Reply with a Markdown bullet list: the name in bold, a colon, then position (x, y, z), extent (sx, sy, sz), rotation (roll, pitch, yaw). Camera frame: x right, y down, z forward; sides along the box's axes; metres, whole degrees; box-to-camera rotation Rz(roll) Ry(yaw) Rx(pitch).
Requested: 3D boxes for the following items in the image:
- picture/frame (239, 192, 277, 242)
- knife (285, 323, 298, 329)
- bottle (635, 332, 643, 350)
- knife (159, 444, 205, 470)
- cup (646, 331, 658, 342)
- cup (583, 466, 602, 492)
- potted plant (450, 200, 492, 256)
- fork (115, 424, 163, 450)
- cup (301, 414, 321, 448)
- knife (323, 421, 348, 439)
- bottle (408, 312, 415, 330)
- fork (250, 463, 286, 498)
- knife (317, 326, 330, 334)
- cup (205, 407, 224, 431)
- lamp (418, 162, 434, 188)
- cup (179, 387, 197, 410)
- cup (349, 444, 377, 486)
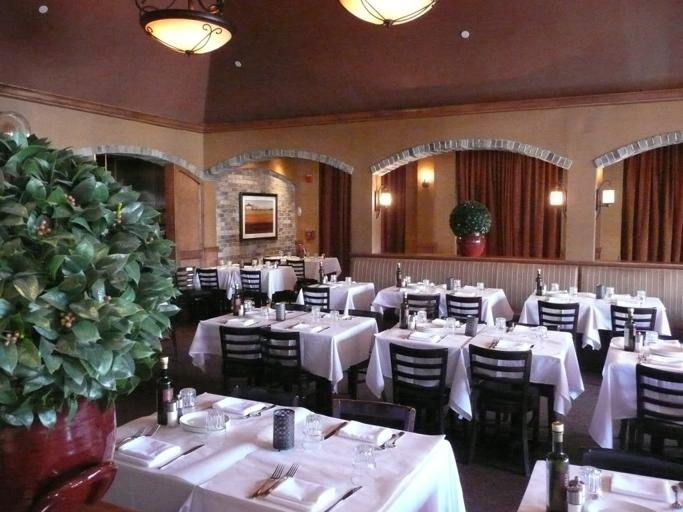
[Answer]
- **picture/frame**: position (-1.905, -0.915, 12.035), extent (0.088, 1.021, 1.165), rotation (0, 1, 35)
- **knife**: position (-0.426, 0.621, 4.703), extent (0.090, 0.026, 0.248), rotation (-1, 1, -4)
- **bottle**: position (2.205, 0.643, 3.937), extent (0.043, 0.130, 0.081), rotation (0, 1, 25)
- **knife**: position (-0.678, 0.848, 2.301), extent (0.040, 0.022, 0.283), rotation (21, 16, 29)
- **cup**: position (2.406, 0.619, 4.093), extent (0.091, 0.090, 0.092), rotation (2, -3, 0)
- **cup**: position (0.968, 0.864, 2.065), extent (0.073, 0.079, 0.074), rotation (0, -2, 0)
- **potted plant**: position (1.958, -0.433, 8.108), extent (0.586, 0.874, 0.709), rotation (-1, 1, 12)
- **fork**: position (-0.933, 0.840, 2.478), extent (0.039, 0.042, 0.291), rotation (6, 1, 15)
- **cup**: position (-0.129, 0.814, 2.447), extent (0.101, 0.152, 0.104), rotation (1, -5, 0)
- **knife**: position (-0.033, 0.830, 2.548), extent (0.035, 0.022, 0.256), rotation (-25, -8, 13)
- **bottle**: position (0.628, 0.586, 4.699), extent (0.064, 0.109, 0.187), rotation (-1, 1, 9)
- **fork**: position (-0.280, 0.893, 2.091), extent (0.037, 0.037, 0.267), rotation (-18, 10, 14)
- **knife**: position (-0.154, 0.631, 4.588), extent (0.102, 0.024, 0.235), rotation (-1, 1, 5)
- **cup**: position (-0.598, 0.783, 2.554), extent (0.088, 0.084, 0.131), rotation (-1, 1, -12)
- **lamp**: position (1.835, -1.797, 11.509), extent (0.415, 0.623, 0.123), rotation (0, 2, 42)
- **cup**: position (-0.831, 0.750, 2.794), extent (0.122, 0.111, 0.080), rotation (1, 1, 19)
- **cup**: position (0.108, 0.857, 2.176), extent (0.105, 0.153, 0.107), rotation (-1, -3, 0)
